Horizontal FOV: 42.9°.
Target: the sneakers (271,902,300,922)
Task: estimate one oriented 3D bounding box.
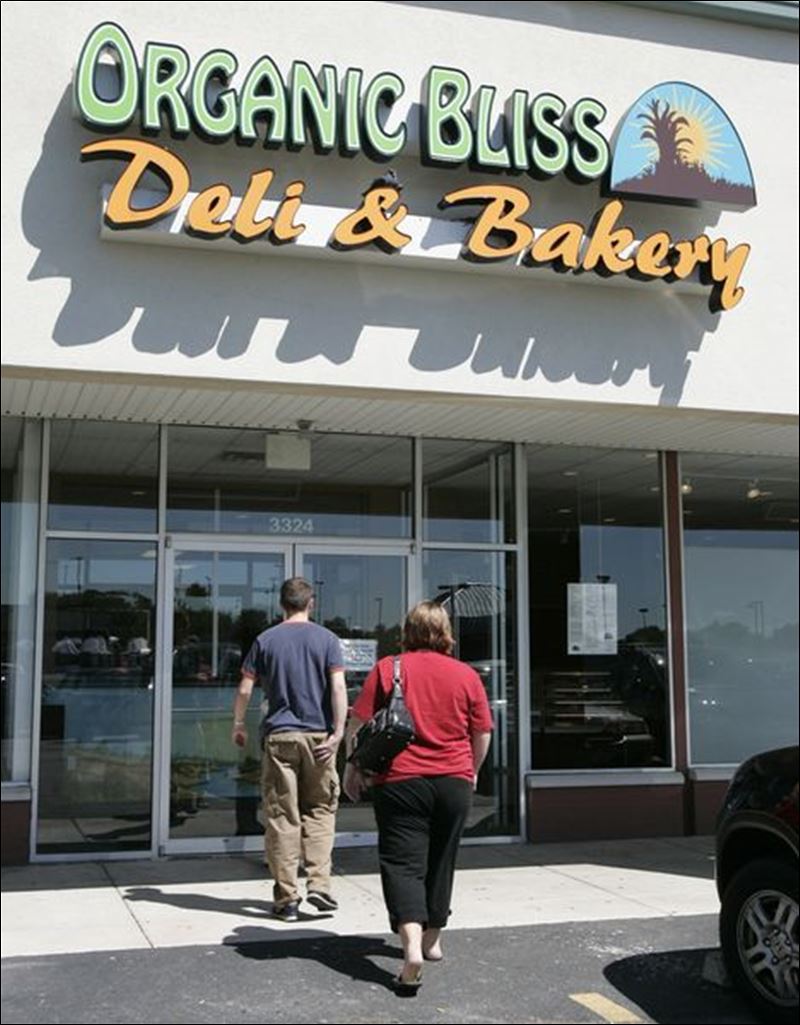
[{"bbox_3d":[-0.630,2.188,5.631,0.145,0.104,0.140,1,-6,-10],"label":"sneakers"}]

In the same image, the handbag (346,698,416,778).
[{"bbox_3d":[-0.124,1.008,4.492,0.122,0.244,0.329,18,-36,-19],"label":"handbag"}]

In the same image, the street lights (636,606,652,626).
[{"bbox_3d":[2.120,0.912,8.912,0.148,0.227,0.146,-1,-4,2],"label":"street lights"}]

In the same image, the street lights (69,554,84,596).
[{"bbox_3d":[-2.372,0.450,7.501,0.084,0.265,0.024,3,-8,-29],"label":"street lights"}]

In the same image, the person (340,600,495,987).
[{"bbox_3d":[0.084,1.256,4.603,0.658,1.685,0.541,0,-7,-1],"label":"person"}]

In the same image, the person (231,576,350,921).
[{"bbox_3d":[-0.628,1.322,5.804,0.614,1.887,0.389,0,-7,-7],"label":"person"}]
